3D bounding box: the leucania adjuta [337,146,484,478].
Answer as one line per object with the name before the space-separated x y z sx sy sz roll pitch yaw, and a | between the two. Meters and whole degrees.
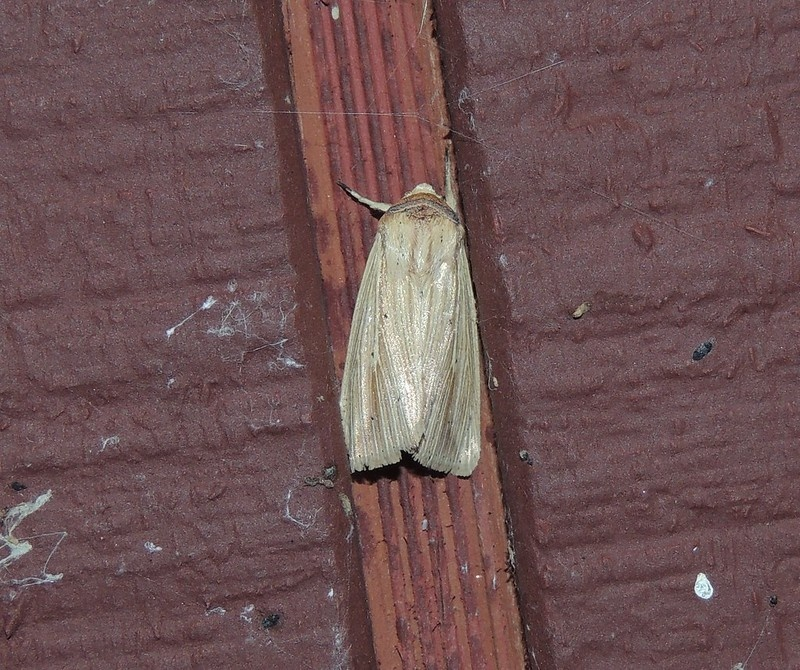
leucania adjuta | 0.089 -0.088 6.960 0.589 1.930 0.438 -1 -3 -1
